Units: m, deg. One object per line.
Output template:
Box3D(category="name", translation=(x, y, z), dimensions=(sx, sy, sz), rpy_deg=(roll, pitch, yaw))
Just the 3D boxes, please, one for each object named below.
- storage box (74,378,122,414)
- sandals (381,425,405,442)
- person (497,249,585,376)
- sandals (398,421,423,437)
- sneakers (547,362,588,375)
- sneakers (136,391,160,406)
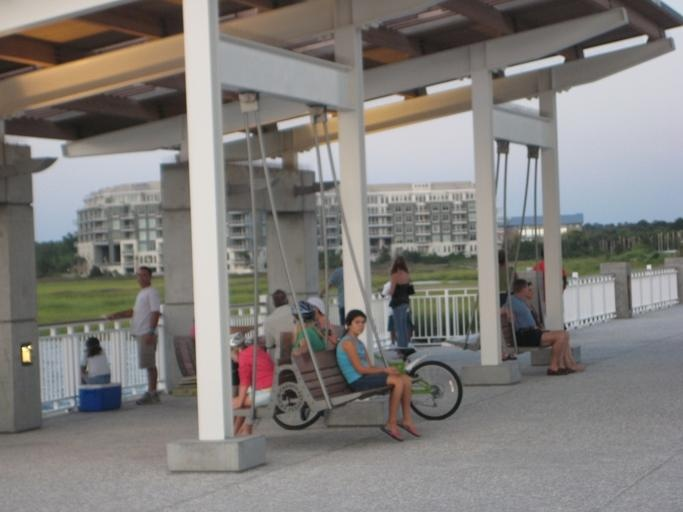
Box3D(category="storage box", translation=(-3.564, 2.066, 14.216), dimensions=(0.467, 0.430, 0.482), rpy_deg=(-2, 0, 43))
Box3D(category="sandals", translation=(0.587, 2.025, 11.117), dimensions=(0.338, 0.095, 0.134), rpy_deg=(44, 4, 13))
Box3D(category="person", translation=(3.109, 1.079, 15.191), dimensions=(1.085, 1.589, 0.598), rpy_deg=(-4, -3, 14))
Box3D(category="sandals", translation=(0.816, 2.017, 11.340), dimensions=(0.299, 0.087, 0.116), rpy_deg=(33, -13, 37))
Box3D(category="sneakers", translation=(3.535, 1.752, 14.975), dimensions=(0.545, 0.185, 0.226), rpy_deg=(-8, -3, -5))
Box3D(category="sneakers", translation=(-2.965, 2.169, 14.718), dimensions=(0.320, 0.201, 0.177), rpy_deg=(1, -4, 5))
